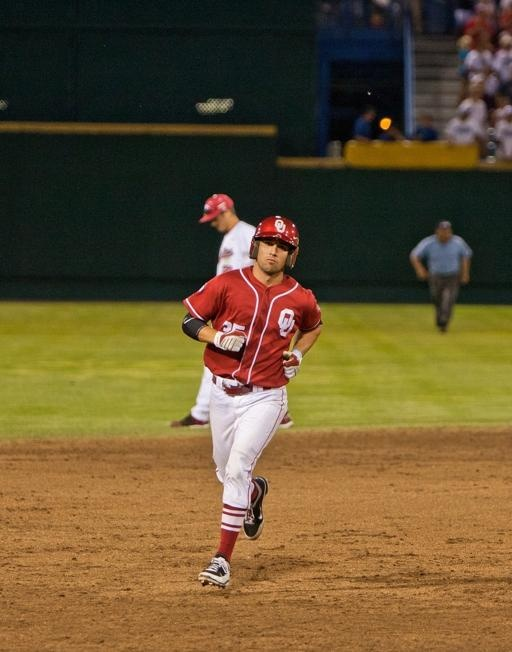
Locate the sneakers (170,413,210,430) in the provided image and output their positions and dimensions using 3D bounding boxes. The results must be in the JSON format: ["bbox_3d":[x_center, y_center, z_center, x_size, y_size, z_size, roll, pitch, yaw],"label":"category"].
[{"bbox_3d":[-0.497,0.737,9.769,0.363,0.121,0.121,1,-1,3],"label":"sneakers"}]

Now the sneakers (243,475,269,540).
[{"bbox_3d":[-0.007,1.041,7.246,0.129,0.348,0.151,3,-13,29],"label":"sneakers"}]

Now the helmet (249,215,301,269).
[{"bbox_3d":[0.133,-0.455,6.913,0.272,0.250,0.287,12,0,-2],"label":"helmet"}]

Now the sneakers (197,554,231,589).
[{"bbox_3d":[-0.225,1.290,6.614,0.162,0.169,0.114,0,11,-5],"label":"sneakers"}]

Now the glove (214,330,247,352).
[{"bbox_3d":[-0.146,0.077,6.566,0.108,0.062,0.136,21,9,14],"label":"glove"}]

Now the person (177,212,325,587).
[{"bbox_3d":[-0.081,0.368,6.841,0.549,1.889,1.010,8,13,31],"label":"person"}]

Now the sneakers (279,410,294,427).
[{"bbox_3d":[0.239,0.758,10.027,0.102,0.106,0.258,0,-3,5],"label":"sneakers"}]
